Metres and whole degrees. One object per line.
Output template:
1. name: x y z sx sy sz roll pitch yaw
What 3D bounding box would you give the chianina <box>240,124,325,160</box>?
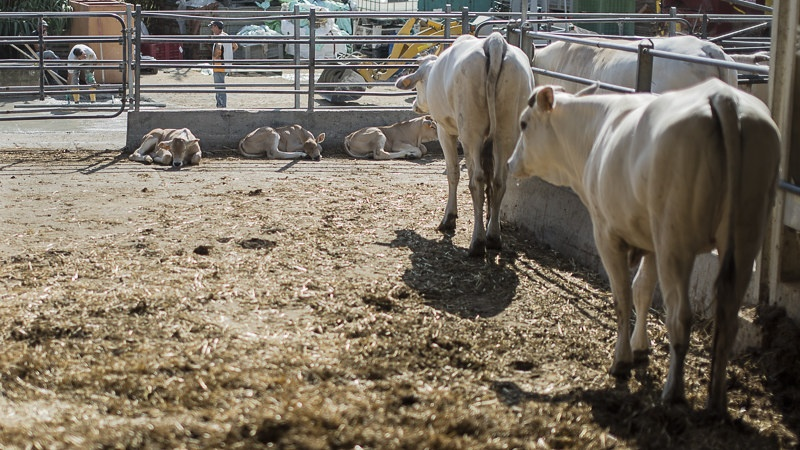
1. chianina: -2.285 -1.551 14.556 1.372 0.583 0.749 -1 10 -19

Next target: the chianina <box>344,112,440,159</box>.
1. chianina: -0.104 -1.699 15.100 1.964 0.859 0.827 -9 2 -21

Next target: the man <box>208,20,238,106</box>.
1. man: -3.865 -3.479 16.916 0.570 2.000 4.793 -4 16 -12
